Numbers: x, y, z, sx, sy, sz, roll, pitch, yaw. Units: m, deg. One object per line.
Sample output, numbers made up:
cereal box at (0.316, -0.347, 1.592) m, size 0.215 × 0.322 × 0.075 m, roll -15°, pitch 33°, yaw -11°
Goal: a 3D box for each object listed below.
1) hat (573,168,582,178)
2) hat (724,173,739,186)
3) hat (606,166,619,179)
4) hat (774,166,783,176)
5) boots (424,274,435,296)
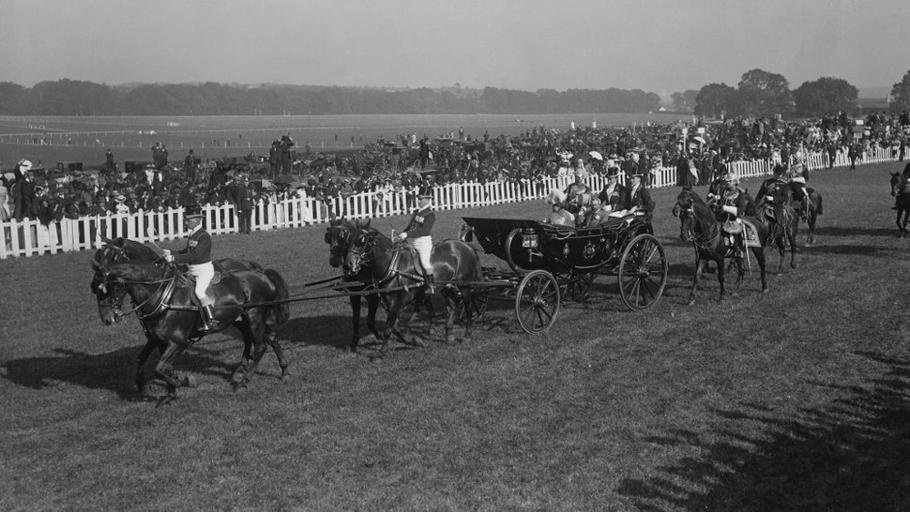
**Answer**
hat at (3.676, -2.440, 26.416) m, size 0.251 × 0.269 × 0.389 m, roll 0°, pitch 10°, yaw 12°
hat at (8.491, -2.370, 27.668) m, size 0.318 × 0.336 × 0.410 m, roll 1°, pitch 31°, yaw 22°
hat at (4.871, -2.574, 27.684) m, size 0.320 × 0.165 × 0.306 m, roll -22°, pitch 16°, yaw -15°
hat at (10.789, -2.867, 30.132) m, size 0.314 × 0.302 × 0.315 m, roll -11°, pitch 17°, yaw -23°
boots at (-0.639, 0.716, 23.328) m, size 0.159 × 0.460 × 0.326 m, roll 2°, pitch 5°, yaw 20°
